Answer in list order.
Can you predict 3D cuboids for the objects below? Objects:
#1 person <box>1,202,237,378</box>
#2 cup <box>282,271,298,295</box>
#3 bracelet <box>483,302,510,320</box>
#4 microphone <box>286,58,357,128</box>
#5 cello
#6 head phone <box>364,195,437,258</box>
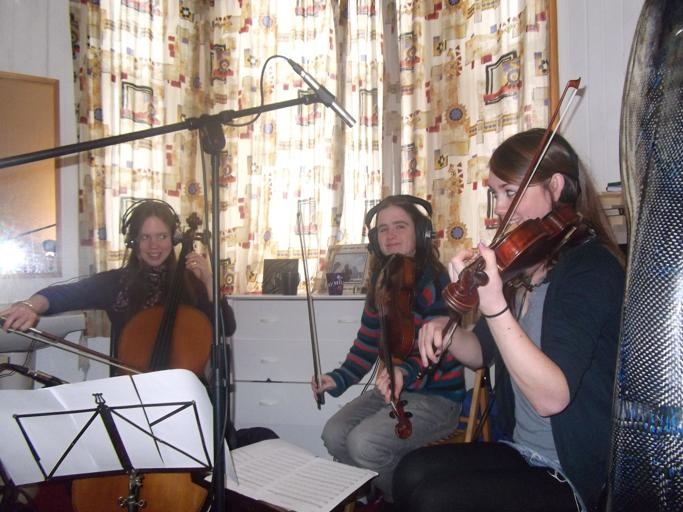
[{"bbox_3d":[-0.909,0.292,2.654,0.693,0.964,0.288,13,-5,-7],"label":"person"},{"bbox_3d":[-0.254,0.132,3.124,0.084,0.101,0.090,-4,5,0],"label":"cup"},{"bbox_3d":[0.424,0.151,1.715,0.070,0.037,0.034,-5,5,-8],"label":"bracelet"},{"bbox_3d":[-0.048,-0.489,1.954,0.198,0.214,0.068,0,7,-25],"label":"microphone"},{"bbox_3d":[-0.659,0.367,2.367,0.393,1.106,0.211,6,-16,-6],"label":"cello"},{"bbox_3d":[0.269,-0.123,2.791,0.271,0.245,0.114,-1,-6,14],"label":"head phone"}]
